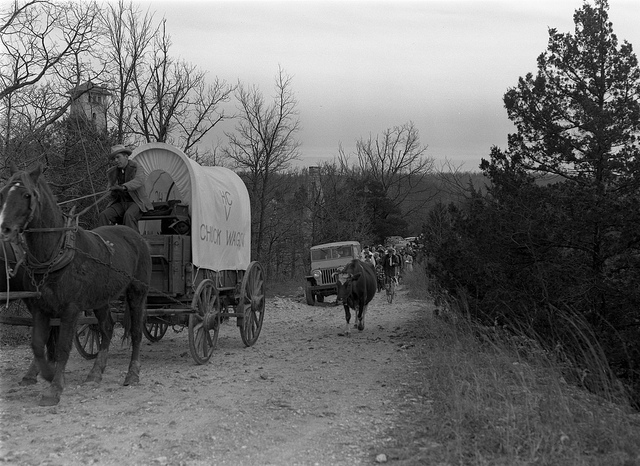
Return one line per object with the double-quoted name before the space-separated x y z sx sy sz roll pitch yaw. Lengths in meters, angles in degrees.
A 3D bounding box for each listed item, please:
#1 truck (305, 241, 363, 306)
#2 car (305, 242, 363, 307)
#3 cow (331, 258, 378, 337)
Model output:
"truck" 0.706 1.684 27.351 2.360 2.640 4.594 -5 1 6
"car" 0.752 1.740 27.338 2.399 2.827 4.584 -7 -1 10
"cow" 1.028 1.880 17.323 0.930 2.224 2.885 6 11 12
